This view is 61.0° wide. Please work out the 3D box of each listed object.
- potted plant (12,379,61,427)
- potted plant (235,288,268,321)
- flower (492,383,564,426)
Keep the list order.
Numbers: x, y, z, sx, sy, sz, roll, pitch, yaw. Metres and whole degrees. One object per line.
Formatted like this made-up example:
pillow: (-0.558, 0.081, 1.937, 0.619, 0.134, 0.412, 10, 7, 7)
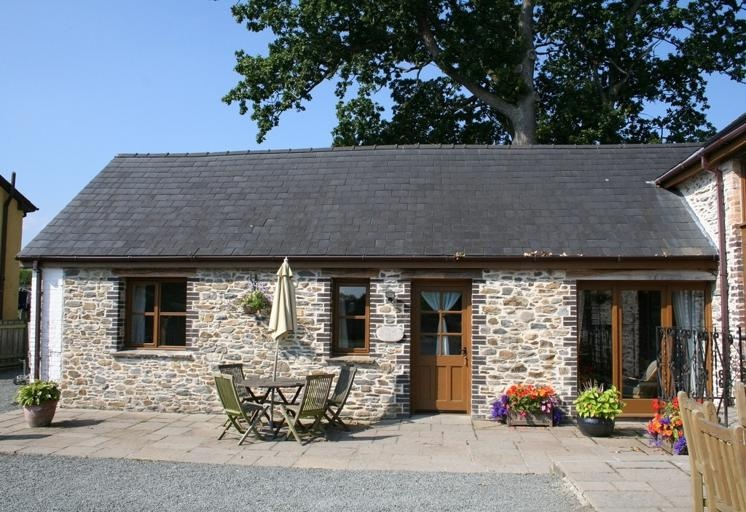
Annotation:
potted plant: (-6.998, 3.075, 13.416, 1.066, 0.895, 0.952, 0, -9, -1)
potted plant: (-2.677, 1.078, 14.064, 0.759, 0.462, 0.662, 3, -1, 5)
flower: (3.267, 3.150, 13.268, 1.121, 0.516, 1.020, 0, -5, 5)
